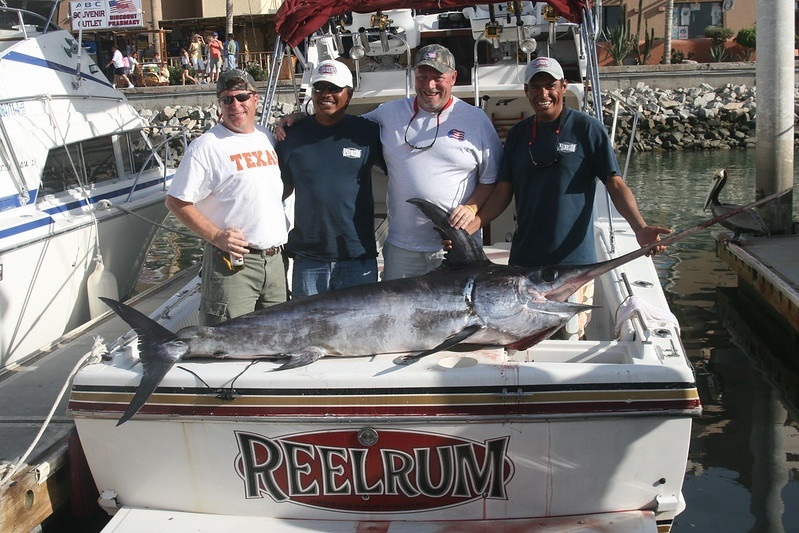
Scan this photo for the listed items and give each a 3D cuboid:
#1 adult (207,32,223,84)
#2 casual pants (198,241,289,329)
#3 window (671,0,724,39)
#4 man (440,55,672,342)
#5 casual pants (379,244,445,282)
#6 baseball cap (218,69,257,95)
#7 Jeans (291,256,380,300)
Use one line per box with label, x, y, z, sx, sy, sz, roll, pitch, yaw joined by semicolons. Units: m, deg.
adult;-5.597;-6.327;24.552;0.508;1.504;0.483;2;4;-14
casual pants;-1.180;0.139;6.128;0.585;0.729;0.367;-5;14;-41
window;10.923;-9.066;29.486;1.959;1.326;0.075;3;12;17
man;1.214;-0.832;6.522;2.170;1.545;0.684;1;1;42
casual pants;0.078;-0.041;6.555;0.298;0.354;0.511;4;7;19
baseball cap;-1.220;-1.389;6.172;0.303;0.190;0.392;-2;5;-4
Jeans;-0.535;0.064;6.478;0.633;0.430;0.345;0;0;-1
